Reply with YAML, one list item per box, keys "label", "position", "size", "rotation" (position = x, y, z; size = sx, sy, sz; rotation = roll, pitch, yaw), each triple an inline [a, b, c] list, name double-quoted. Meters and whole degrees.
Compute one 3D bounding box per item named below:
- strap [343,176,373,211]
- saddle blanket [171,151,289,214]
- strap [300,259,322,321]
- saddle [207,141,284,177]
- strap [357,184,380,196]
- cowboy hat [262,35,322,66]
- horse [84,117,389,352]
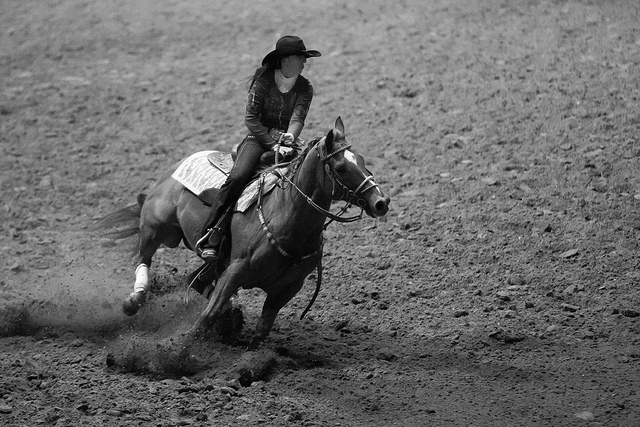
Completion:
- label: "strap"
  position: [0.550, -0.233, 12.342]
  size: [0.409, 0.084, 0.312]
  rotation: [-43, 10, 5]
- label: "saddle blanket"
  position: [-1.301, -0.431, 13.291]
  size: [1.365, 0.338, 0.869]
  rotation: [24, 28, 36]
- label: "strap"
  position: [-0.126, 1.067, 13.709]
  size: [0.156, 0.130, 0.979]
  rotation: [124, 167, -64]
- label: "saddle"
  position: [-1.044, -0.719, 13.411]
  size: [0.746, 0.202, 0.638]
  rotation: [-2, 15, -9]
- label: "strap"
  position: [0.572, -0.284, 12.262]
  size: [0.160, 0.038, 0.152]
  rotation: [-30, -1, -17]
- label: "cowboy hat"
  position: [-0.378, -2.066, 12.966]
  size: [0.763, 0.238, 0.539]
  rotation: [-15, 11, -6]
- label: "horse"
  position: [-1.491, 0.244, 14.152]
  size: [1.950, 2.977, 6.022]
  rotation: [9, 0, -43]
